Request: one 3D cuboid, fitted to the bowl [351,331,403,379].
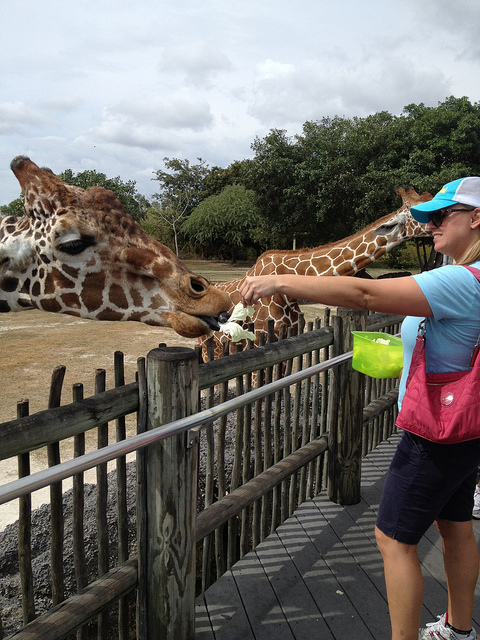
[{"bbox_3d":[0.584,0.141,1.909,0.195,0.136,0.228,-5,11,-33],"label":"bowl"}]
